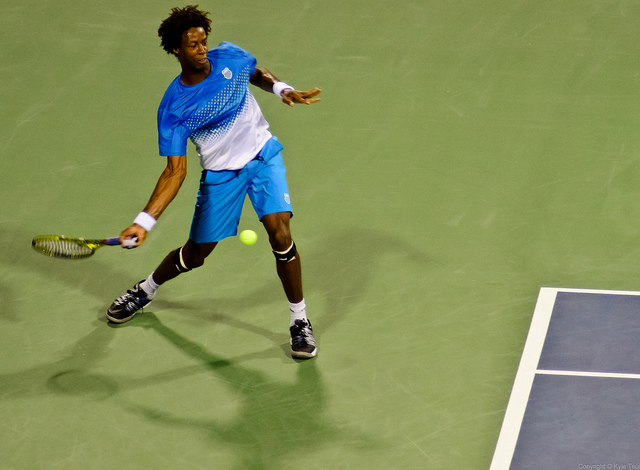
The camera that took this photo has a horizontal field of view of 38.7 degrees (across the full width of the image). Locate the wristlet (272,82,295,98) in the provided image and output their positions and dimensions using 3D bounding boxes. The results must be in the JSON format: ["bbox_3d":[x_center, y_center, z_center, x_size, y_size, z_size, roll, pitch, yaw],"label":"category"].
[{"bbox_3d":[-0.290,-1.134,7.147,0.124,0.091,0.197,-21,33,-9],"label":"wristlet"}]

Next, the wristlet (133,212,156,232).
[{"bbox_3d":[-1.298,-0.120,6.780,0.105,0.149,0.143,-58,16,7],"label":"wristlet"}]

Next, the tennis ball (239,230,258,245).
[{"bbox_3d":[-0.586,0.022,7.542,0.107,0.085,0.084,-12,41,15],"label":"tennis ball"}]
